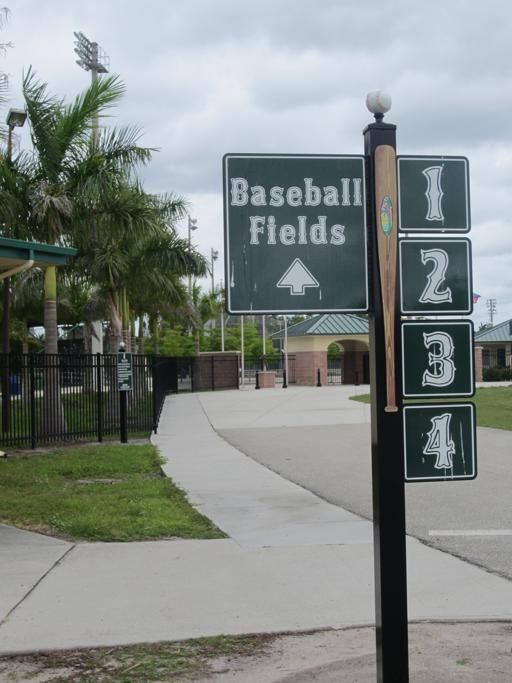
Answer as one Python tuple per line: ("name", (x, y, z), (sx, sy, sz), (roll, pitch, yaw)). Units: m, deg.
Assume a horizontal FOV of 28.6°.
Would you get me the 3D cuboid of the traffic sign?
("traffic sign", (0.192, -0.554, 5.204), (0.938, 1.147, 0.107), (1, -3, -9))
